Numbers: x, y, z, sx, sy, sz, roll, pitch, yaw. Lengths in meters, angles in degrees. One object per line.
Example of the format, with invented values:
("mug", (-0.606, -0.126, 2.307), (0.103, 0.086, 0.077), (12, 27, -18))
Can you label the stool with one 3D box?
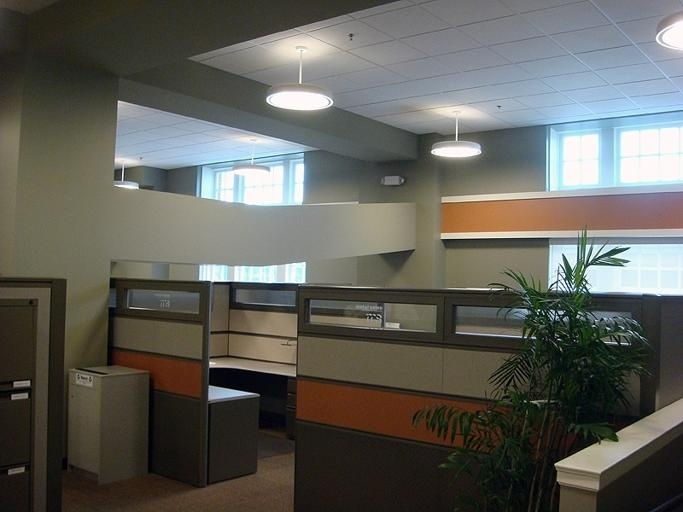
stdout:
("stool", (-1.025, 1.711, 4.991), (0.439, 0.840, 0.820), (5, -9, -29))

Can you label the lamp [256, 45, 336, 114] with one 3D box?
("lamp", (-0.459, -2.097, 6.115), (0.656, 0.645, 0.672), (2, -1, -22))

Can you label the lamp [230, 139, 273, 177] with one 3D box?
("lamp", (-1.768, -1.846, 10.562), (0.693, 0.798, 0.713), (1, 0, 34))

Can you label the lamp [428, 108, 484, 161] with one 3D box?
("lamp", (1.782, -1.952, 8.476), (0.782, 0.841, 0.830), (1, -1, 3))
